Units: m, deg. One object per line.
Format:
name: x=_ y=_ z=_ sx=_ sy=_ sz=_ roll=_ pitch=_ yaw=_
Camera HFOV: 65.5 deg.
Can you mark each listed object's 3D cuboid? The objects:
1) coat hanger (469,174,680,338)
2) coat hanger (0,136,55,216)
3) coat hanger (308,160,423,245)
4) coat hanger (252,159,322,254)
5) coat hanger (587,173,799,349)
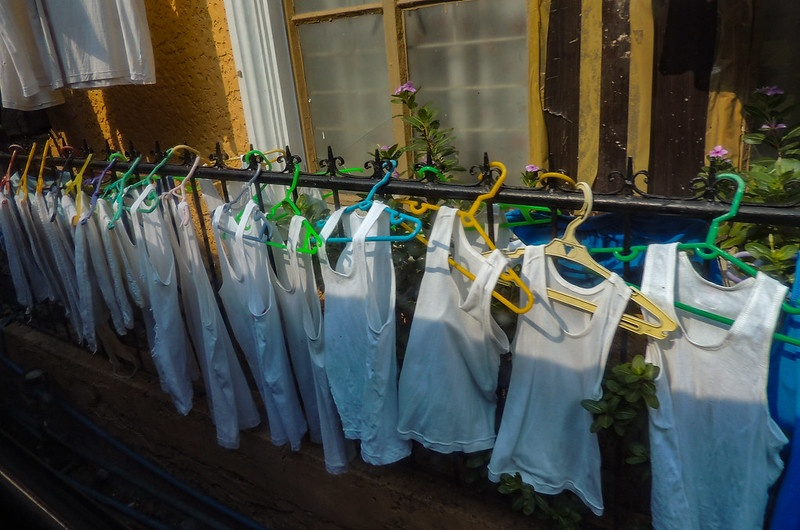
coat hanger: x=0.690 y=-0.022 z=2.505 sx=0.669 sy=0.439 sz=0.052 roll=23 pitch=30 yaw=26
coat hanger: x=-2.200 y=-0.508 z=3.751 sx=0.329 sy=0.553 sz=0.163 roll=8 pitch=7 yaw=22
coat hanger: x=-0.133 y=-0.274 z=2.629 sx=0.543 sy=0.355 sz=0.033 roll=-5 pitch=21 yaw=-36
coat hanger: x=-0.549 y=-0.268 z=3.012 sx=0.470 sy=0.357 sz=0.019 roll=19 pitch=16 yaw=42
coat hanger: x=1.149 y=-0.013 z=2.392 sx=0.711 sy=0.496 sz=0.026 roll=17 pitch=27 yaw=30
